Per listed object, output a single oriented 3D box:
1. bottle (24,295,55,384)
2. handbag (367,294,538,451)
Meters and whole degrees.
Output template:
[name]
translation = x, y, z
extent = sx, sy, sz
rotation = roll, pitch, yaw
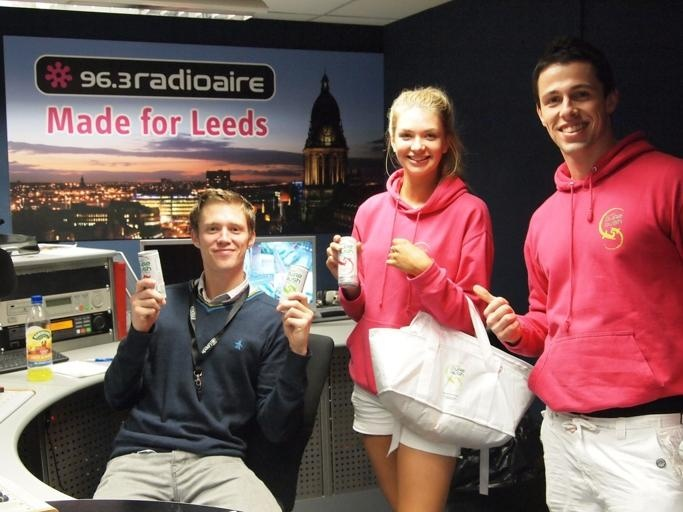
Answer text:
[bottle]
translation = -1.352, 0.341, 2.395
extent = 0.109, 0.353, 0.318
rotation = -8, 10, -29
[handbag]
translation = 0.383, 0.420, 1.980
extent = 0.516, 0.482, 0.200
rotation = 14, -12, 6
